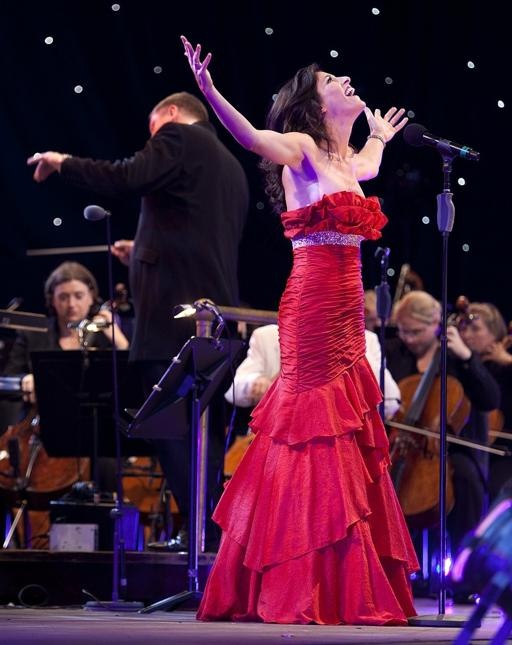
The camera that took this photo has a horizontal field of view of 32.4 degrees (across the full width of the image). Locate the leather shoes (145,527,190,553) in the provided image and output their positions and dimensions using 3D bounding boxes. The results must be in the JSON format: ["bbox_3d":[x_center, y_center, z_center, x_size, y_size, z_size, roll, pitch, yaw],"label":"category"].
[{"bbox_3d":[-0.371,0.947,3.814,0.157,0.066,0.118,-5,-10,28],"label":"leather shoes"}]

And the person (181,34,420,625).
[{"bbox_3d":[0.161,0.004,2.958,0.711,1.862,0.678,-1,-2,0],"label":"person"}]

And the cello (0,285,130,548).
[{"bbox_3d":[-1.021,0.438,4.640,0.542,1.517,0.346,5,-40,5],"label":"cello"}]

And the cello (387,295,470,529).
[{"bbox_3d":[0.953,0.425,4.859,0.432,1.217,0.364,3,-17,22],"label":"cello"}]
